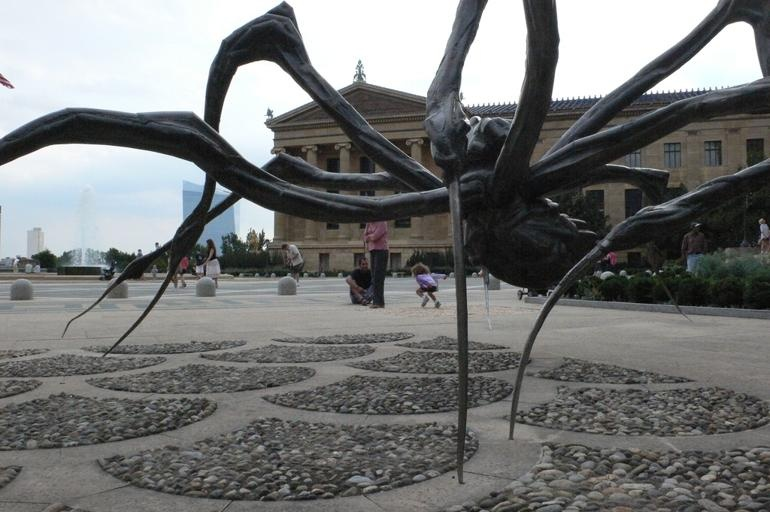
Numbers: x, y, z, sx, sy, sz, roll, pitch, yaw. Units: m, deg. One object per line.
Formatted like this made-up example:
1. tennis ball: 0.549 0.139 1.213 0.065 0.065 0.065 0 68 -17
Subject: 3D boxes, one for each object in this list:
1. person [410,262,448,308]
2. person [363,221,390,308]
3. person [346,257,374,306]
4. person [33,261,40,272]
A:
1. person: 1.094 0.674 13.289 0.742 1.069 0.720 -3 -13 -26
2. person: -0.191 0.200 12.018 0.471 1.864 1.496 0 1 -2
3. person: -0.564 0.674 13.386 0.737 1.047 1.047 0 -19 -6
4. person: -36.568 1.182 59.461 0.375 1.001 0.623 12 -42 -25
